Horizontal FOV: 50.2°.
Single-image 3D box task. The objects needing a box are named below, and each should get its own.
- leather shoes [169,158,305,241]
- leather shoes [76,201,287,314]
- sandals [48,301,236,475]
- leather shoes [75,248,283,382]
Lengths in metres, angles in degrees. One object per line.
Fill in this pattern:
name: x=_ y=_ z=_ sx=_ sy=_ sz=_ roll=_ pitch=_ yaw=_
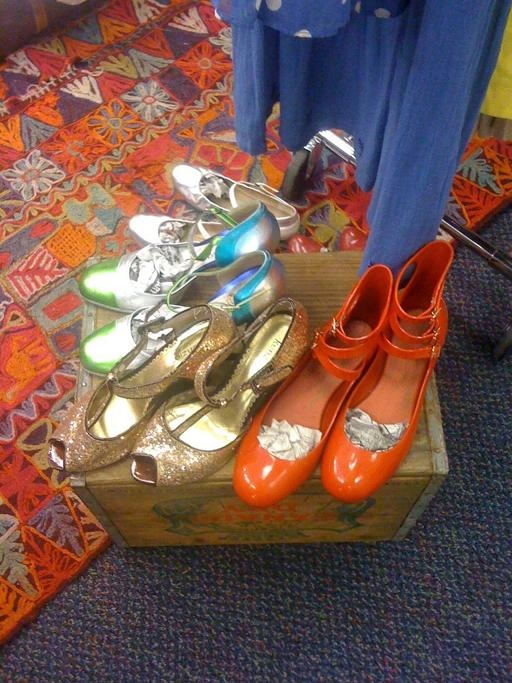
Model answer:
leather shoes: x=-0.072 y=-0.360 z=1.344 sx=0.381 sy=0.101 sz=0.137 roll=26 pitch=80 yaw=7
leather shoes: x=-0.149 y=-0.178 z=1.000 sx=0.378 sy=0.121 sz=0.115 roll=-2 pitch=91 yaw=-1
sandals: x=-0.167 y=0.076 z=0.856 sx=0.372 sy=0.153 sz=0.129 roll=-37 pitch=70 yaw=-2
leather shoes: x=-0.112 y=-0.048 z=0.988 sx=0.443 sy=0.125 sz=0.150 roll=-28 pitch=66 yaw=3
